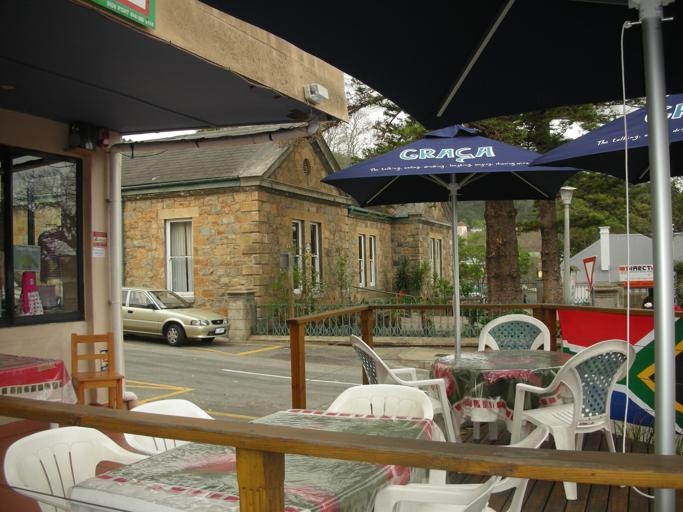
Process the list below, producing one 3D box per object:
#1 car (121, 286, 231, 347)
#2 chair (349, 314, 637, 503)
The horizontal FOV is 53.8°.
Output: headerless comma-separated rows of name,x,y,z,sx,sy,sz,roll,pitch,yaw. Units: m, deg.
car,-3.762,1.338,15.321,2.407,0.850,1.214,0,1,28
chair,1.613,1.191,5.567,1.120,0.972,1.933,2,-3,-39
